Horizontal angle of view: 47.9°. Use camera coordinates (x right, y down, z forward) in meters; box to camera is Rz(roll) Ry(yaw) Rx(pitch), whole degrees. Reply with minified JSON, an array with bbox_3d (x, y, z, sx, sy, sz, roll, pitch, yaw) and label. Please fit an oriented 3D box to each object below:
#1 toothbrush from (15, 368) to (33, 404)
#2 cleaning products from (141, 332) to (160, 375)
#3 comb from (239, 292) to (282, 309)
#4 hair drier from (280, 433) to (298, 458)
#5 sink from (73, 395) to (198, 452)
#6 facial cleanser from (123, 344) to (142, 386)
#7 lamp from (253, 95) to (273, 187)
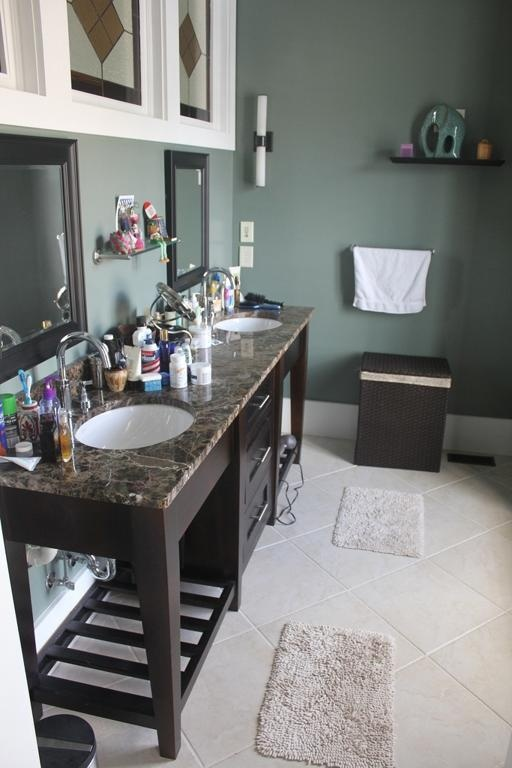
[{"bbox_3d":[-0.541,0.006,1.337,0.025,0.088,0.023,-2,53,-16],"label":"toothbrush"},{"bbox_3d":[-0.323,-0.094,1.766,0.047,0.098,0.151,-2,17,-4],"label":"cleaning products"},{"bbox_3d":[0.026,-0.408,2.898,0.168,0.076,0.100,8,21,16],"label":"comb"},{"bbox_3d":[0.167,0.318,2.893,0.088,0.124,0.119,10,16,14],"label":"hair drier"},{"bbox_3d":[-0.336,0.109,1.599,0.312,0.113,0.352,5,18,15],"label":"sink"},{"bbox_3d":[-0.362,-0.059,1.708,0.050,0.105,0.068,-4,17,-11],"label":"facial cleanser"},{"bbox_3d":[0.036,-1.309,3.132,0.104,0.455,0.171,1,17,8],"label":"lamp"}]
